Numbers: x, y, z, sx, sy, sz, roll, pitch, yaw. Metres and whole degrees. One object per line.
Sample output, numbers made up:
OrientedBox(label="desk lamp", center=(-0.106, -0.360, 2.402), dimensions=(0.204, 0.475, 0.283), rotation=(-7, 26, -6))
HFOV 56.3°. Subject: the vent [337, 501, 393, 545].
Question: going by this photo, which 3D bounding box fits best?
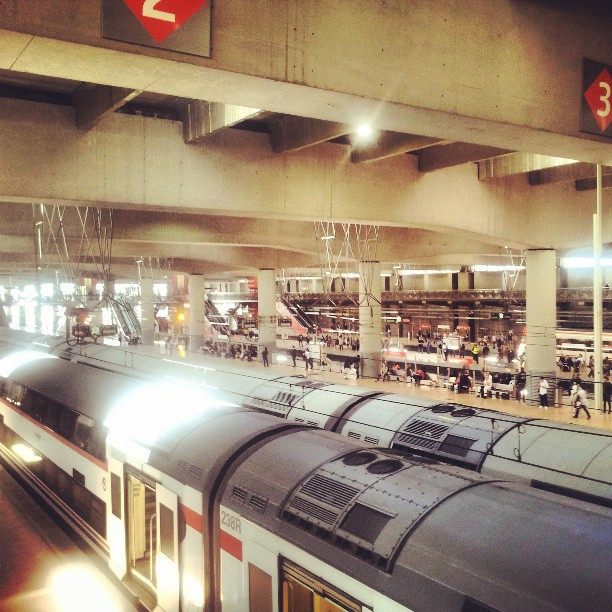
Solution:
OrientedBox(label="vent", center=(0.584, 2.146, 5.700), dimensions=(0.327, 0.210, 0.487), rotation=(0, 1, -43))
